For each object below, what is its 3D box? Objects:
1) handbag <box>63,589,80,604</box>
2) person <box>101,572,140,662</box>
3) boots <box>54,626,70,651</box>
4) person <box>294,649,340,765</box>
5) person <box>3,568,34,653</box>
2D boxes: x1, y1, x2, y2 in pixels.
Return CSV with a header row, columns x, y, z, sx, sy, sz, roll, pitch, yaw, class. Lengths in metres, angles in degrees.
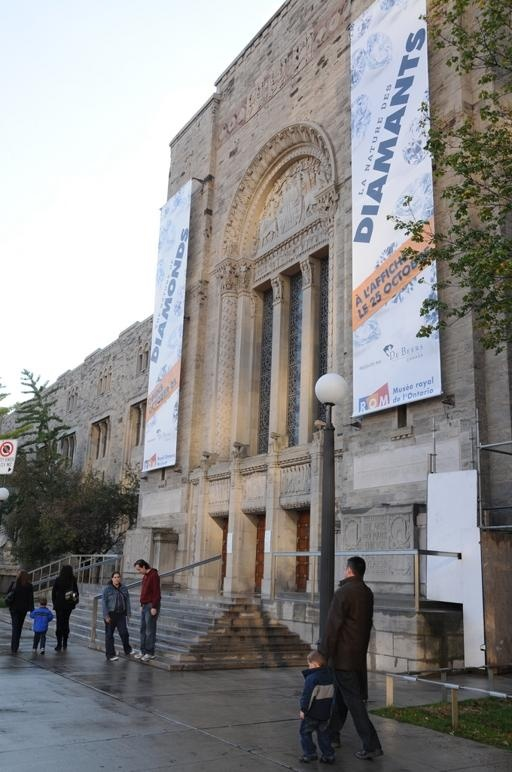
x,y,z,sx,sy,sz,roll,pitch,yaw,class
-4.055,4.629,13.657,0.260,0.238,0.340,2,-6,-22,handbag
-2.713,4.517,12.299,0.651,1.606,1.687,4,-14,-11,person
-4.197,5.480,13.435,0.317,0.685,0.697,1,-16,-15,boots
0.511,2.611,5.019,0.274,0.850,0.403,0,-14,7,person
-5.028,4.760,13.118,0.524,1.622,1.994,6,-15,-18,person
